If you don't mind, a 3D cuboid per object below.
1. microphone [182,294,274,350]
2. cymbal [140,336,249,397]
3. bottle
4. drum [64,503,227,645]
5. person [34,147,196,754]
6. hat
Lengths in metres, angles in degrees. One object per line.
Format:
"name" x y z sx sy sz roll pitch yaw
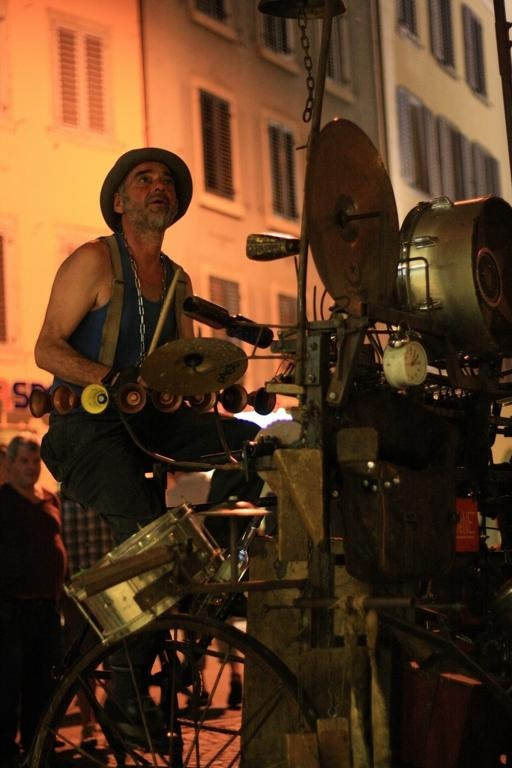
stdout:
"microphone" -0.085 -0.207 3.856 0.350 0.086 0.078 22 -25 -23
"cymbal" -0.202 -0.060 3.583 0.285 0.227 0.244 5 6 40
"bottle" -0.085 0.701 4.062 0.216 0.343 0.238 0 0 40
"drum" -0.365 0.616 3.572 0.510 0.460 0.201 -1 3 -5
"person" -0.474 0.111 4.464 0.927 1.938 0.890 -5 8 -27
"hat" -0.459 -0.844 4.830 0.435 0.370 0.298 9 16 41
